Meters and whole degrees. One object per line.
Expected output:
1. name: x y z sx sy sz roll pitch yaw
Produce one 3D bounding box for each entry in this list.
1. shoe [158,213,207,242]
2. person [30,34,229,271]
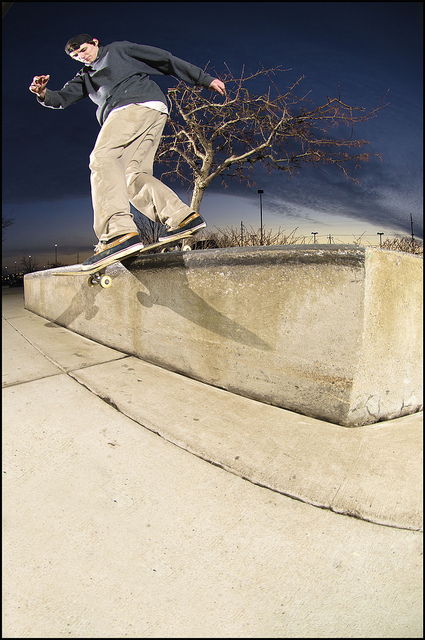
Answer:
1. shoe: -0.217 -0.650 3.555 0.323 0.211 0.218 1 10 -9
2. person: -0.599 -1.169 3.591 0.847 1.589 1.178 -7 13 -44
